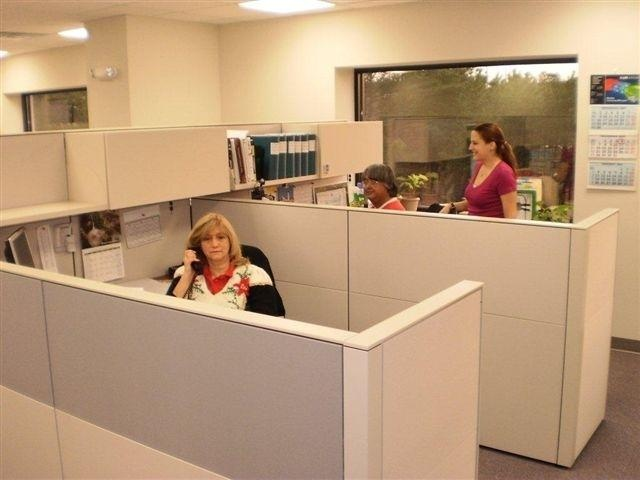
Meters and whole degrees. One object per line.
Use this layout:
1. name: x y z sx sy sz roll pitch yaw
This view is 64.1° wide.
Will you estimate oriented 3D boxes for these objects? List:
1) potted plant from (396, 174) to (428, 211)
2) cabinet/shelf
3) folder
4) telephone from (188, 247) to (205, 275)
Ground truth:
1. potted plant: 1.090 -0.526 5.915 0.296 0.408 0.336 -4 23 0
2. cabinet/shelf: -0.543 -0.693 4.133 0.646 0.484 2.985 7 16 37
3. folder: -0.284 -0.667 4.199 0.376 0.442 0.671 8 18 35
4. telephone: -0.701 0.118 2.864 0.065 0.157 0.043 -4 7 -5
